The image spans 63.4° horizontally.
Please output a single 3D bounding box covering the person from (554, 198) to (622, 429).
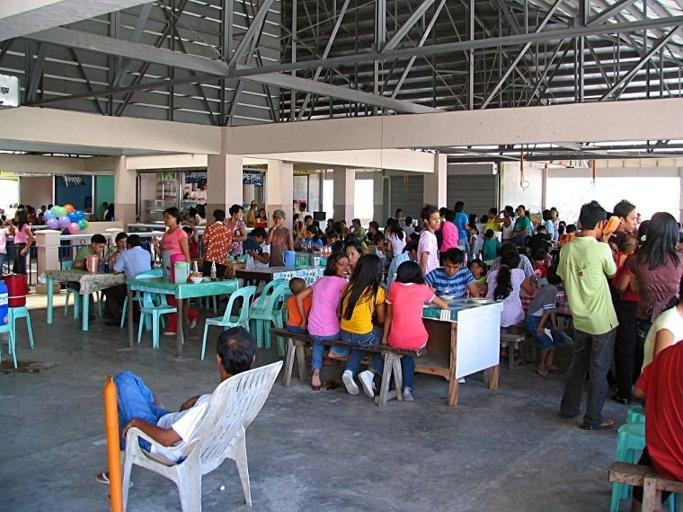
[{"bbox_3d":[1.980,0.466,4.423,0.476,1.790,0.425,4,7,27],"label":"person"}]

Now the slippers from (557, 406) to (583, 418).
[{"bbox_3d":[1.907,1.288,4.595,0.207,0.093,0.077,-6,9,-31],"label":"slippers"}]

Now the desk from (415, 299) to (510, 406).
[{"bbox_3d":[1.048,0.849,5.106,0.555,0.863,0.783,6,8,42],"label":"desk"}]

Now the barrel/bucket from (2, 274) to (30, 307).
[{"bbox_3d":[-3.766,0.359,6.404,0.288,0.509,0.366,-4,8,-38],"label":"barrel/bucket"}]

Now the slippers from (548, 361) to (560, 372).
[{"bbox_3d":[2.283,1.180,5.885,0.087,0.047,0.114,3,4,34],"label":"slippers"}]

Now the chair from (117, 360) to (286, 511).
[{"bbox_3d":[-0.654,0.986,3.212,0.960,0.925,0.703,2,2,26],"label":"chair"}]

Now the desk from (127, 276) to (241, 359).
[{"bbox_3d":[-1.886,0.578,6.596,0.988,0.785,1.003,3,2,45],"label":"desk"}]

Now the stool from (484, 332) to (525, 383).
[{"bbox_3d":[1.823,1.023,5.951,0.498,0.510,0.515,2,2,39],"label":"stool"}]

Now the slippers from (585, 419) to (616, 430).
[{"bbox_3d":[2.062,1.340,4.371,0.203,0.086,0.097,-5,1,-13],"label":"slippers"}]

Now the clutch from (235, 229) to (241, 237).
[{"bbox_3d":[-1.704,-0.373,9.048,0.096,0.107,0.097,-1,-5,23],"label":"clutch"}]

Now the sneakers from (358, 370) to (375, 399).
[{"bbox_3d":[0.239,1.149,5.080,0.153,0.265,0.357,1,6,4],"label":"sneakers"}]

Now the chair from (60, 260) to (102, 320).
[{"bbox_3d":[-4.171,0.556,8.717,0.439,0.641,0.427,1,-8,10],"label":"chair"}]

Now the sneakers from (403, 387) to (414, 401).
[{"bbox_3d":[0.604,1.242,4.972,0.052,0.115,0.155,4,2,39],"label":"sneakers"}]

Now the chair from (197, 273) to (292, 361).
[{"bbox_3d":[-1.034,0.654,6.069,0.320,0.593,0.838,8,10,27],"label":"chair"}]

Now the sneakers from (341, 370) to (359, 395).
[{"bbox_3d":[0.082,1.151,5.065,0.111,0.273,0.118,-17,25,14],"label":"sneakers"}]
